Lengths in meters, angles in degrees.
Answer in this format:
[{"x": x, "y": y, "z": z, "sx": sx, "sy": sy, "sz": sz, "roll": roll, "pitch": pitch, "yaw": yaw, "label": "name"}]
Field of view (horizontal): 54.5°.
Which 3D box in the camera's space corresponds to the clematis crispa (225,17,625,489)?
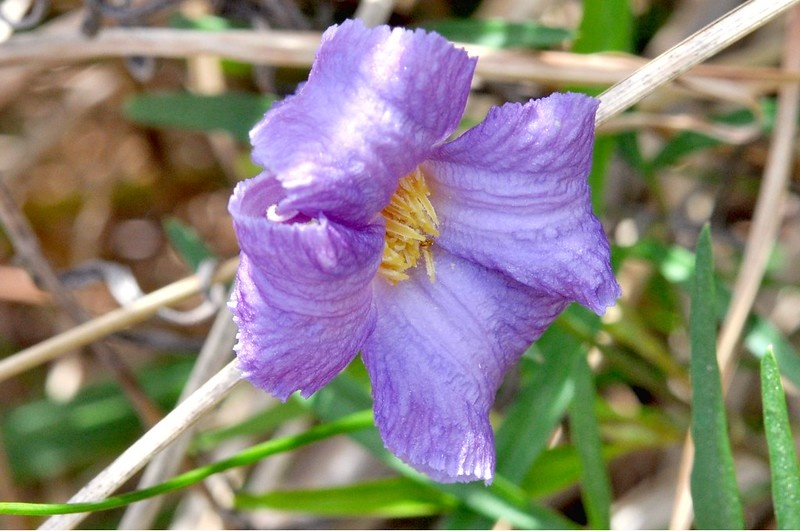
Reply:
[{"x": 0.051, "y": -0.001, "z": 1.224, "sx": 0.571, "sy": 0.614, "sz": 0.502, "roll": 13, "pitch": 51, "yaw": 15, "label": "clematis crispa"}]
